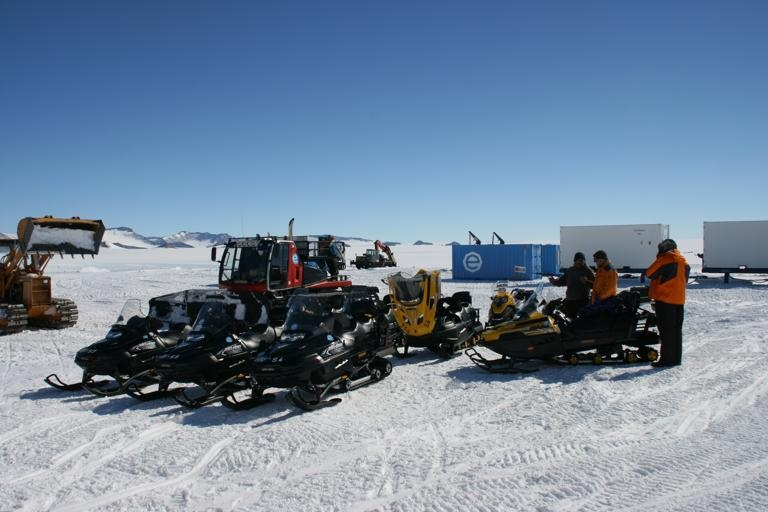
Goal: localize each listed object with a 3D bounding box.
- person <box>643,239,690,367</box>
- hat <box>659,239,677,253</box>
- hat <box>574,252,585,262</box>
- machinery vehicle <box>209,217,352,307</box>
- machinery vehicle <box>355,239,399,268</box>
[{"bbox_3d":[5.414,0.874,10.275,0.676,2.402,0.886,1,17,23],"label":"person"},{"bbox_3d":[5.497,-0.214,10.420,0.293,0.226,0.534,12,16,37],"label":"hat"},{"bbox_3d":[4.376,0.014,11.788,0.308,0.208,0.339,0,-3,-1],"label":"hat"},{"bbox_3d":[-3.047,0.200,17.920,2.598,1.870,4.736,2,3,26],"label":"machinery vehicle"},{"bbox_3d":[-0.785,0.125,45.182,1.880,1.649,4.198,2,3,40],"label":"machinery vehicle"}]
